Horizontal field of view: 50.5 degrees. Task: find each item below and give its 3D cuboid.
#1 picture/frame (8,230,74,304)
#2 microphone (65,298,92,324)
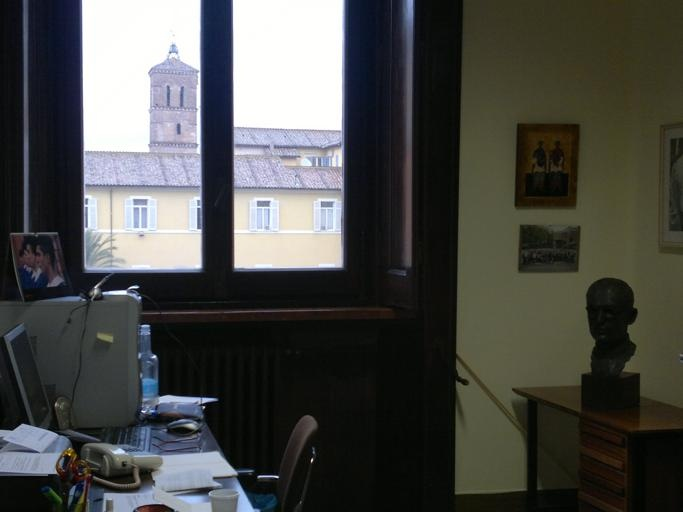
[{"bbox_3d":[-1.409,0.041,3.394,0.312,0.315,0.033,-3,13,25],"label":"picture/frame"},{"bbox_3d":[-1.214,0.253,3.338,0.118,0.117,0.039,-3,5,-19],"label":"microphone"}]
